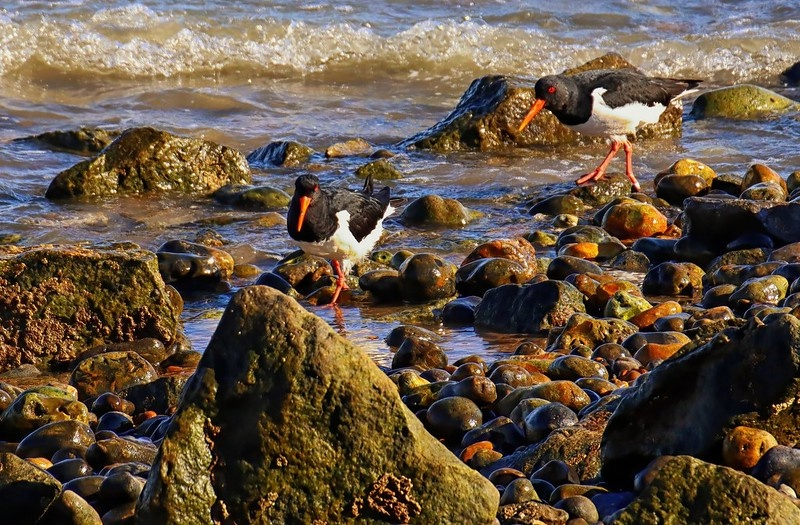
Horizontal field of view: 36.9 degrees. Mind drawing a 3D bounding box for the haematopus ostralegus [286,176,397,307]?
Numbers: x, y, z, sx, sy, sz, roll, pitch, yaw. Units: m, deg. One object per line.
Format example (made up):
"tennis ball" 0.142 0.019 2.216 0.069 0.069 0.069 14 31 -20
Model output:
"haematopus ostralegus" -0.747 -0.478 14.975 1.190 1.182 0.661 -4 21 -37
